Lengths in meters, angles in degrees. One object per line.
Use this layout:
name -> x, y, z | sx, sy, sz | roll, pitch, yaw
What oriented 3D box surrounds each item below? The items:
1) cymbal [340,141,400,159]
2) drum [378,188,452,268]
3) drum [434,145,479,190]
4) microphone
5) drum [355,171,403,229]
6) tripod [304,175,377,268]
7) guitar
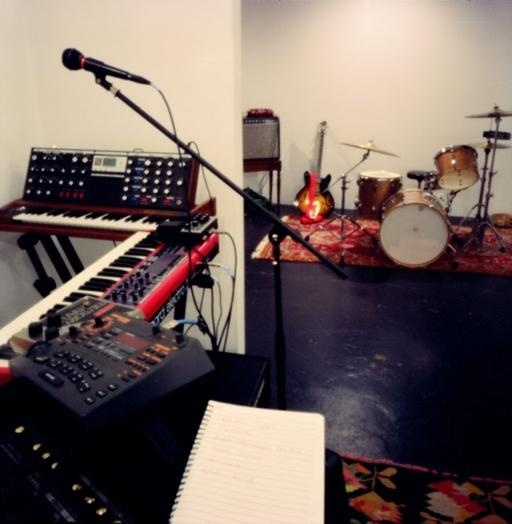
cymbal -> 1.335, -1.283, 5.474 | 0.394, 0.099, 0.410 | 15, 12, -14
drum -> 1.338, -0.248, 3.998 | 0.570, 0.641, 0.469 | 4, 0, 29
drum -> 1.730, -0.780, 4.115 | 0.369, 0.411, 0.422 | 6, 21, 18
microphone -> -0.415, -0.547, 1.349 | 0.224, 0.091, 0.152 | -2, 21, -3
drum -> 1.104, -0.593, 4.575 | 0.427, 0.463, 0.451 | -2, 20, -3
tripod -> 0.905, -0.512, 5.026 | 0.567, 0.789, 0.639 | 3, -14, 2
guitar -> 0.703, -1.026, 5.471 | 0.455, 1.212, 0.148 | 9, 41, 9
